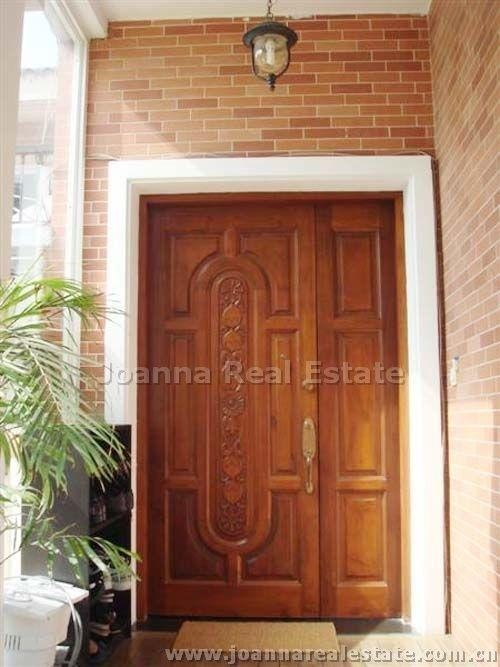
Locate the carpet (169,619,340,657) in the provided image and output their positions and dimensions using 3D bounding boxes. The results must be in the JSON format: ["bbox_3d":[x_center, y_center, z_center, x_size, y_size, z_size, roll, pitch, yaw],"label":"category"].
[{"bbox_3d":[0.029,1.436,2.928,0.769,0.027,0.509,-1,-4,7],"label":"carpet"}]

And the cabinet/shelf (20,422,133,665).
[{"bbox_3d":[-0.730,0.936,2.855,0.332,0.998,0.629,-2,-5,14],"label":"cabinet/shelf"}]
